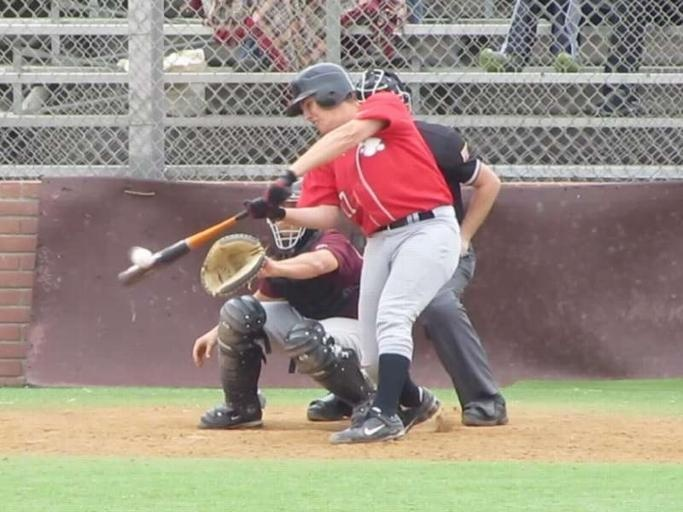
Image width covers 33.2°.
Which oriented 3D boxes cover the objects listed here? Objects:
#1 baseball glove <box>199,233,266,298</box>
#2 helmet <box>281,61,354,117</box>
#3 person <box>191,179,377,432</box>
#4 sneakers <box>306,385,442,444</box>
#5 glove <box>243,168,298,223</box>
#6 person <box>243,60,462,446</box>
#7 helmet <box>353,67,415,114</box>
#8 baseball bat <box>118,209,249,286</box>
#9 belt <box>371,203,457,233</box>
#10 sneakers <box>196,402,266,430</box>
[{"bbox_3d":[-0.540,0.052,5.537,0.341,0.257,0.123,-33,-7,-5],"label":"baseball glove"},{"bbox_3d":[-0.110,-0.830,5.669,0.314,0.185,0.216,-23,6,-1],"label":"helmet"},{"bbox_3d":[-0.226,0.346,5.770,1.072,1.268,0.957,10,-18,-35],"label":"person"},{"bbox_3d":[0.217,0.768,5.606,0.588,0.233,0.193,-12,-3,-35],"label":"sneakers"},{"bbox_3d":[-0.331,-0.261,5.390,0.270,0.178,0.108,-49,-2,-9],"label":"glove"},{"bbox_3d":[0.117,-0.018,5.565,0.842,1.800,0.709,4,10,20],"label":"person"},{"bbox_3d":[0.192,-0.861,5.958,0.280,0.215,0.256,-18,-32,33],"label":"helmet"},{"bbox_3d":[-0.902,-0.033,6.268,0.666,0.120,0.159,-26,-45,9],"label":"baseball bat"},{"bbox_3d":[0.314,-0.163,5.512,0.176,0.044,0.176,-24,2,39],"label":"belt"},{"bbox_3d":[-0.550,0.817,5.811,0.296,0.130,0.122,3,-1,-15],"label":"sneakers"}]
